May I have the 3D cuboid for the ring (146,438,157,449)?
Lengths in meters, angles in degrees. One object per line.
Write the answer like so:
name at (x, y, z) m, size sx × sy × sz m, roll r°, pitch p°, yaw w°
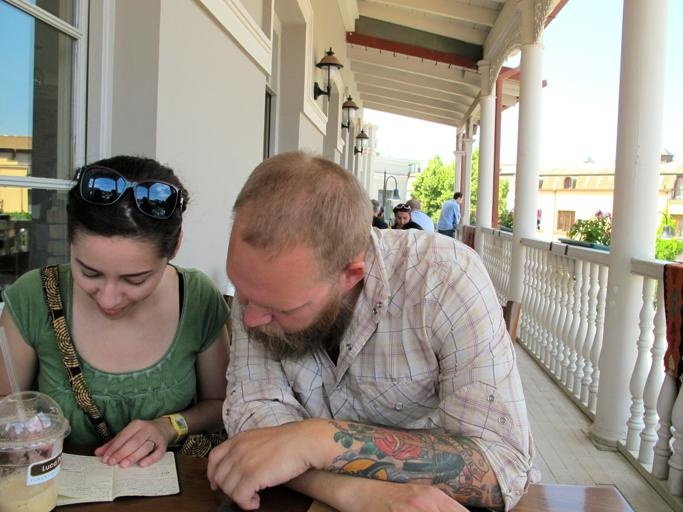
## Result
ring at (-0.660, 0.647, 1.844) m, size 0.026 × 0.024 × 0.030 m, roll -3°, pitch -9°, yaw 22°

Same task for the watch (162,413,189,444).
watch at (-0.621, 0.661, 2.029) m, size 0.069 × 0.118 × 0.107 m, roll -4°, pitch -9°, yaw -44°
